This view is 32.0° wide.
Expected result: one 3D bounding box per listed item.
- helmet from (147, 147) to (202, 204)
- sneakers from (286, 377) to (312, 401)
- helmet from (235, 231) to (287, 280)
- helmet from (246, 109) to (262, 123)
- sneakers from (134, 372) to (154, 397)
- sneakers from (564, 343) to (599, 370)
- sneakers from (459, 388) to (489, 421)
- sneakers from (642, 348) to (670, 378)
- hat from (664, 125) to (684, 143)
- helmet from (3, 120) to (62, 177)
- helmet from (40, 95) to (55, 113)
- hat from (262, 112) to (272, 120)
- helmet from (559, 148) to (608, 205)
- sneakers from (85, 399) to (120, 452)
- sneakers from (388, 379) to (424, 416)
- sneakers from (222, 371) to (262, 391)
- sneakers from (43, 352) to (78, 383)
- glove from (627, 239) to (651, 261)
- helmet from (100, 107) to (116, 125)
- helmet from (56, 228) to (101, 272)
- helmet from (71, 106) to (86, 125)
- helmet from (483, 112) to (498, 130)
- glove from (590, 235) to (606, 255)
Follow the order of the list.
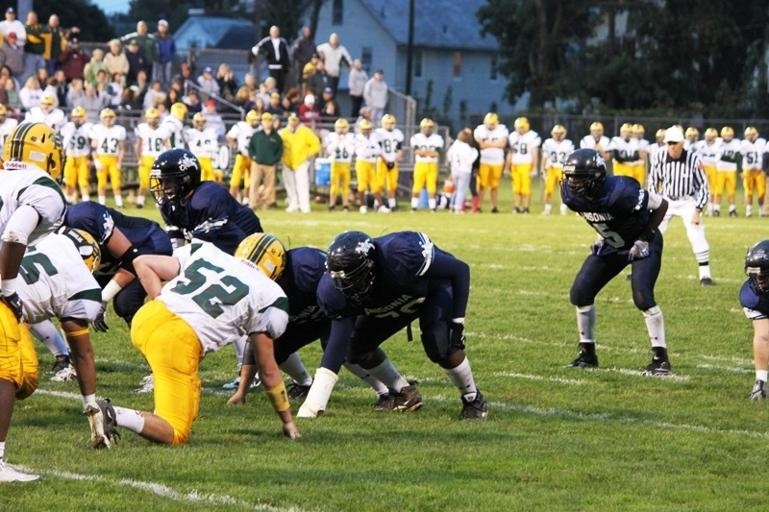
[{"bbox_3d":[-2.049,-0.788,13.230,0.542,0.504,0.452,-20,14,-39],"label":"helmet"},{"bbox_3d":[-0.887,1.305,13.261,0.200,0.182,0.324,-1,3,-37],"label":"sneakers"},{"bbox_3d":[-1.118,-0.028,12.322,0.366,0.425,0.454,35,-12,-1],"label":"helmet"},{"bbox_3d":[-2.342,-2.450,23.617,0.269,0.236,0.210,-2,19,29],"label":"helmet"},{"bbox_3d":[-2.343,1.243,13.082,0.172,0.153,0.268,1,3,-11],"label":"sneakers"},{"bbox_3d":[2.070,1.022,13.931,0.313,0.245,0.261,2,2,9],"label":"sneakers"},{"bbox_3d":[0.858,1.394,12.626,0.282,0.253,0.203,1,2,-9],"label":"sneakers"},{"bbox_3d":[2.799,1.063,13.717,0.277,0.282,0.322,2,3,12],"label":"sneakers"},{"bbox_3d":[3.625,-1.555,16.797,0.254,0.196,0.366,-2,1,19],"label":"hat"},{"bbox_3d":[-3.096,-0.966,11.976,0.414,0.498,0.546,11,13,28],"label":"helmet"},{"bbox_3d":[-5.696,-2.597,22.813,0.223,0.232,0.276,1,4,-3],"label":"helmet"},{"bbox_3d":[-2.020,-2.418,23.167,0.144,0.110,0.146,3,10,21],"label":"hat"},{"bbox_3d":[1.937,-0.809,13.653,0.543,0.484,0.424,-23,12,-34],"label":"helmet"},{"bbox_3d":[-2.459,1.455,11.685,0.270,0.460,0.287,1,2,-12],"label":"sneakers"},{"bbox_3d":[0.228,1.336,12.881,0.319,0.265,0.199,1,2,-10],"label":"sneakers"},{"bbox_3d":[-1.459,1.246,13.383,0.544,0.223,0.179,2,-1,-22],"label":"sneakers"},{"bbox_3d":[-3.216,1.102,13.428,0.246,0.252,0.416,1,3,-14],"label":"sneakers"},{"bbox_3d":[2.596,-0.067,13.659,0.183,0.183,0.080,50,12,20],"label":"glove"},{"bbox_3d":[-4.737,-2.403,23.108,0.281,0.301,0.344,-10,10,-6],"label":"helmet"},{"bbox_3d":[-2.797,-0.083,12.420,0.389,0.387,0.288,-26,35,7],"label":"helmet"},{"bbox_3d":[-5.227,-2.412,23.011,0.247,0.292,0.317,-1,11,-3],"label":"helmet"},{"bbox_3d":[1.938,-2.457,24.340,0.245,0.263,0.324,2,23,1],"label":"helmet"},{"bbox_3d":[2.237,-0.112,13.943,0.154,0.165,0.125,-9,-1,-32],"label":"glove"}]
